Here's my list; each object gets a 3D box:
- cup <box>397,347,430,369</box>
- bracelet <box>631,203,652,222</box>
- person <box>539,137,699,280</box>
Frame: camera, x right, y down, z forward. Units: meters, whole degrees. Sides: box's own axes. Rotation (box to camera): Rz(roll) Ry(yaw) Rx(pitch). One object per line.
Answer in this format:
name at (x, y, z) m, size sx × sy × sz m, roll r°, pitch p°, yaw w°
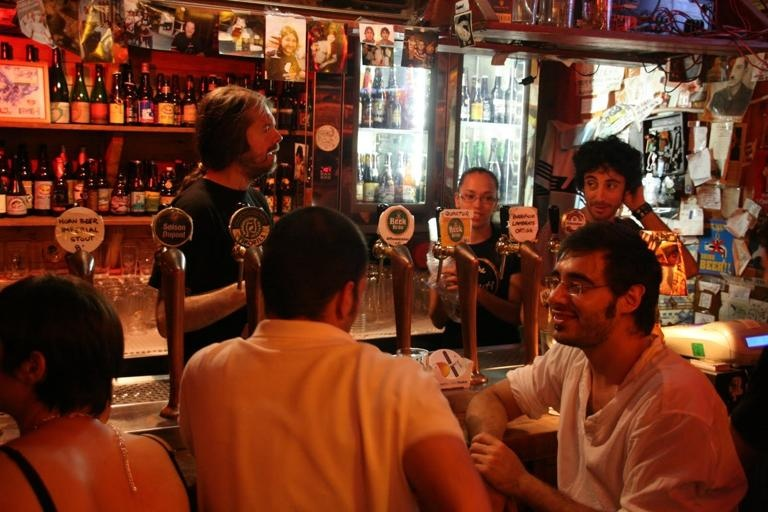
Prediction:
cup at (0.122, 0.355, 2.159) m, size 0.118 × 0.123 × 0.132 m, roll 0°, pitch -6°, yaw 8°
bracelet at (1.481, -0.255, 3.419) m, size 0.077 × 0.110 × 0.112 m, roll 40°, pitch 18°, yaw 9°
person at (1.233, -0.300, 3.248) m, size 0.844 × 0.625 × 0.400 m, roll 8°, pitch 22°, yaw 24°
